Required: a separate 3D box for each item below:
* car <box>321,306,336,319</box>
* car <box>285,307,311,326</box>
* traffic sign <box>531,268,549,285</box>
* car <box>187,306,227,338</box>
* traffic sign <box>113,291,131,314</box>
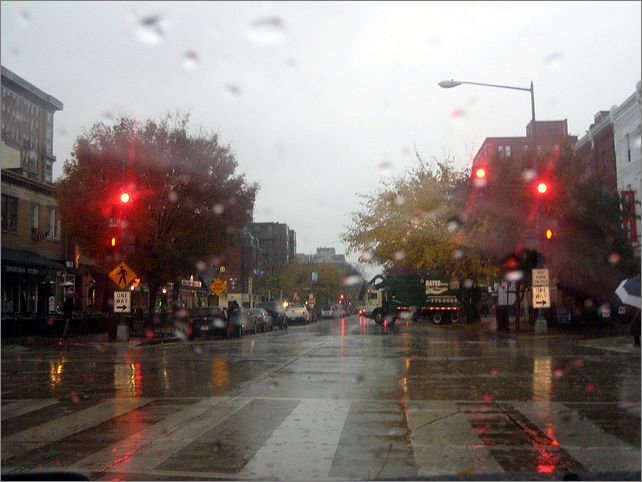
[{"bbox_3d":[0.868,9.437,78.191,1.594,1.475,4.377,-1,-12,-1],"label":"car"},{"bbox_3d":[-2.192,6.849,54.220,1.917,1.831,1.526,1,-10,-13],"label":"car"},{"bbox_3d":[10.504,1.709,28.320,0.625,0.732,0.102,0,-3,-7],"label":"traffic sign"},{"bbox_3d":[-5.796,4.237,30.787,1.071,1.128,2.144,0,1,2],"label":"car"},{"bbox_3d":[-9.243,2.864,27.403,0.770,1.246,0.135,0,4,2],"label":"traffic sign"}]
